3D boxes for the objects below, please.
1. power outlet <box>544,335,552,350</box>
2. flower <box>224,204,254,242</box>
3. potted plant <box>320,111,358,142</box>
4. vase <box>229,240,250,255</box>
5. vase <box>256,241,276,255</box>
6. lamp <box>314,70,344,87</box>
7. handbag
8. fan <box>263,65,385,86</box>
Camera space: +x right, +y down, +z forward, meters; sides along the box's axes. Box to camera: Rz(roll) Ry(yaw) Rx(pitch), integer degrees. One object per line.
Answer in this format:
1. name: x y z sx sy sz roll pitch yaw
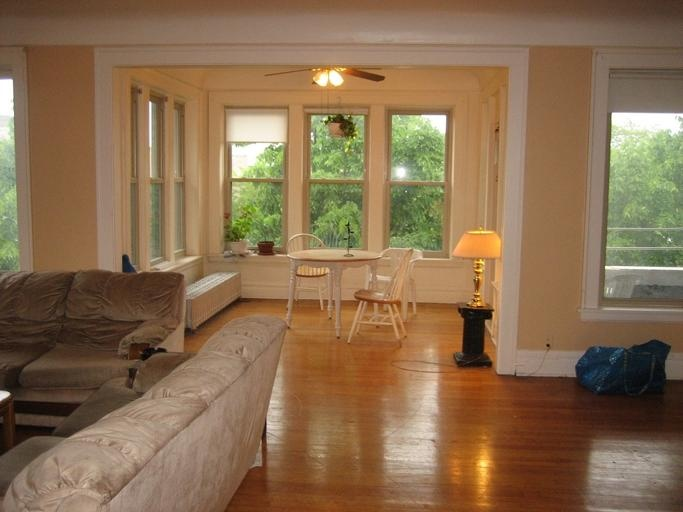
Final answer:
1. power outlet: 1.824 0.777 5.239 0.055 0.115 0.034 3 14 9
2. flower: -1.363 -0.434 7.991 0.421 0.476 0.394 2 13 6
3. potted plant: -0.013 -1.608 7.483 0.369 0.335 0.456 -2 13 -11
4. vase: -1.343 -0.112 7.922 0.204 0.129 0.208 2 2 20
5. vase: -1.000 -0.103 7.998 0.233 0.169 0.266 -1 13 -8
6. lamp: -0.141 -1.716 5.749 0.240 0.134 0.334 -2 13 -11
7. handbag: 2.317 0.941 4.898 0.538 0.188 0.486 -6 15 23
8. fan: -0.143 -1.970 6.522 0.689 0.113 0.723 8 9 37
